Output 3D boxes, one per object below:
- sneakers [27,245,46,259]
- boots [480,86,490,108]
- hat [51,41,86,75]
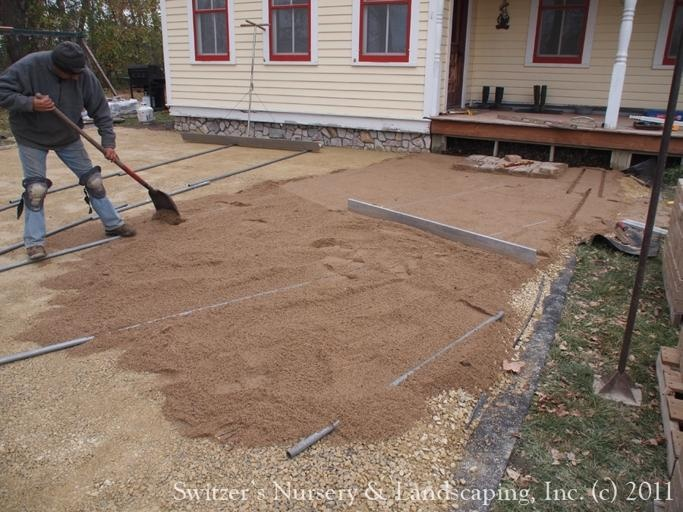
[{"bbox_3d":[-3.074,-0.041,4.578,0.143,0.116,0.134,-14,27,-34],"label":"sneakers"},{"bbox_3d":[3.552,-3.952,11.296,0.206,0.450,0.357,7,23,14],"label":"boots"},{"bbox_3d":[-2.631,-1.906,4.417,0.301,0.296,0.260,-18,29,-39],"label":"hat"}]
